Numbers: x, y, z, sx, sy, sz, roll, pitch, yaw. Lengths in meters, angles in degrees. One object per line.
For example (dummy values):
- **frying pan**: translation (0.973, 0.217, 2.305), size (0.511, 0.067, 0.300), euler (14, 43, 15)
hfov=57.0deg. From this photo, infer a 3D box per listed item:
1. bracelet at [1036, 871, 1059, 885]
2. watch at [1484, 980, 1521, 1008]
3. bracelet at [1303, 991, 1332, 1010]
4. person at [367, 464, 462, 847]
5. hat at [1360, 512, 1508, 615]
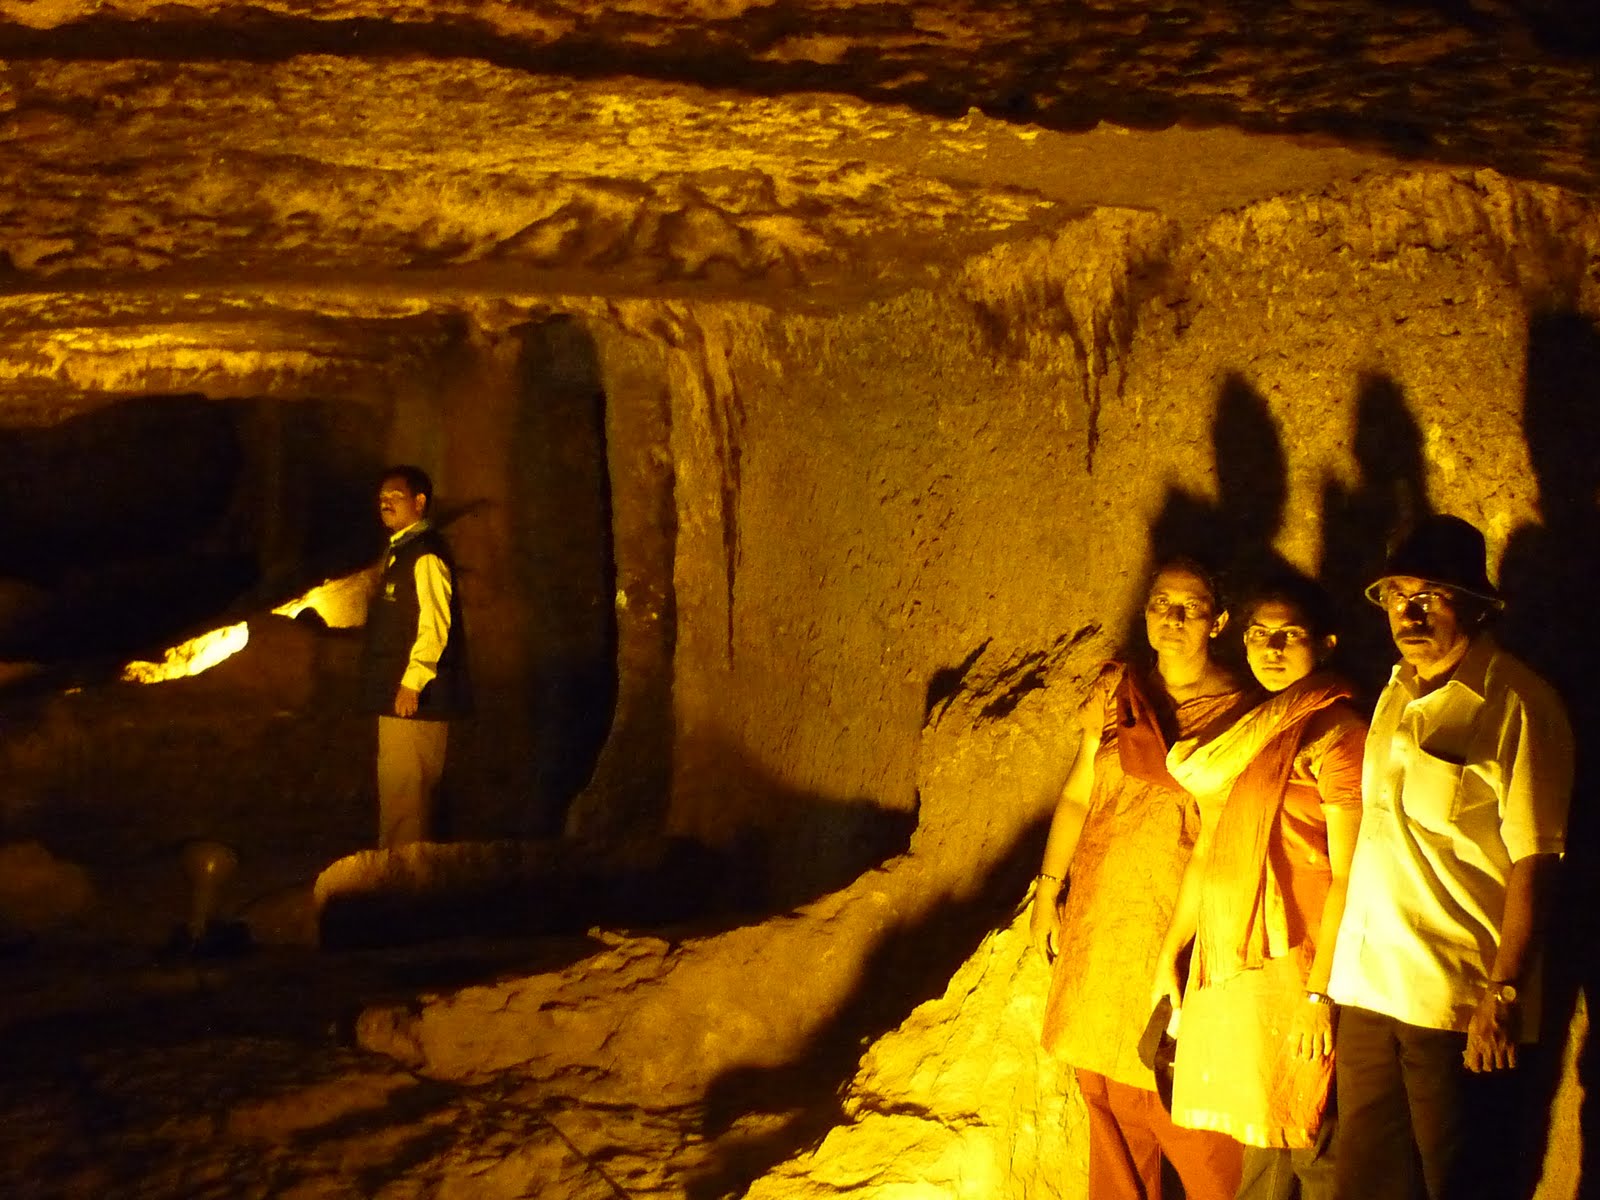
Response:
- **bracelet**: translation (0.584, 0.649, 3.468), size (0.060, 0.034, 0.075), euler (0, -7, 17)
- **watch**: translation (1.333, 0.742, 2.796), size (0.051, 0.046, 0.037), euler (5, -5, 15)
- **bracelet**: translation (1.065, 0.814, 3.022), size (0.049, 0.030, 0.011), euler (8, -5, 2)
- **person**: translation (-1.590, 0.242, 6.118), size (0.482, 1.438, 0.319), euler (-4, 3, 41)
- **hat**: translation (1.507, -0.099, 3.549), size (0.419, 0.194, 0.324), euler (2, 5, -26)
